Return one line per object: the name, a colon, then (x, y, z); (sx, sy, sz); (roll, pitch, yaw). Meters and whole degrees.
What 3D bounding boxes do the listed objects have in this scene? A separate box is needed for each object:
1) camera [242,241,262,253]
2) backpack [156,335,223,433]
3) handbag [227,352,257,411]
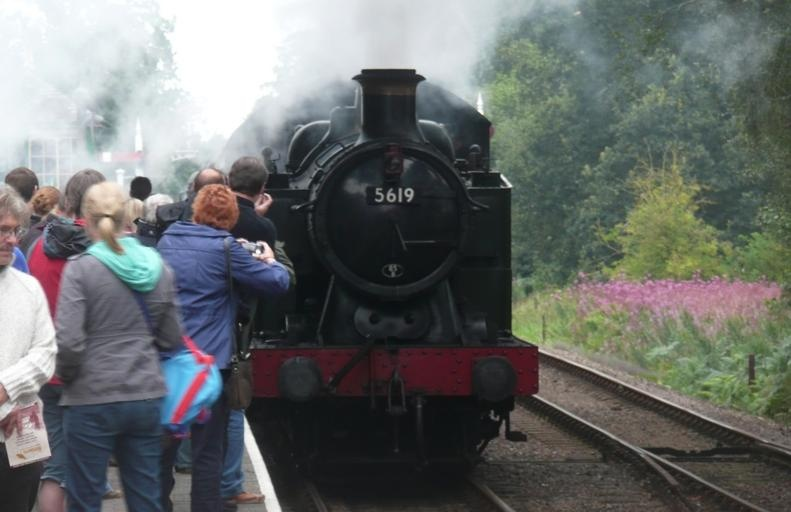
camera: (-0.951, -0.055, 5.060); (0.147, 0.077, 0.056); (-5, 7, -45)
backpack: (-1.251, 0.779, 4.605); (0.324, 0.414, 0.573); (14, 2, -28)
handbag: (-1.020, 0.821, 5.009); (0.159, 0.344, 0.192); (-2, 6, -13)
